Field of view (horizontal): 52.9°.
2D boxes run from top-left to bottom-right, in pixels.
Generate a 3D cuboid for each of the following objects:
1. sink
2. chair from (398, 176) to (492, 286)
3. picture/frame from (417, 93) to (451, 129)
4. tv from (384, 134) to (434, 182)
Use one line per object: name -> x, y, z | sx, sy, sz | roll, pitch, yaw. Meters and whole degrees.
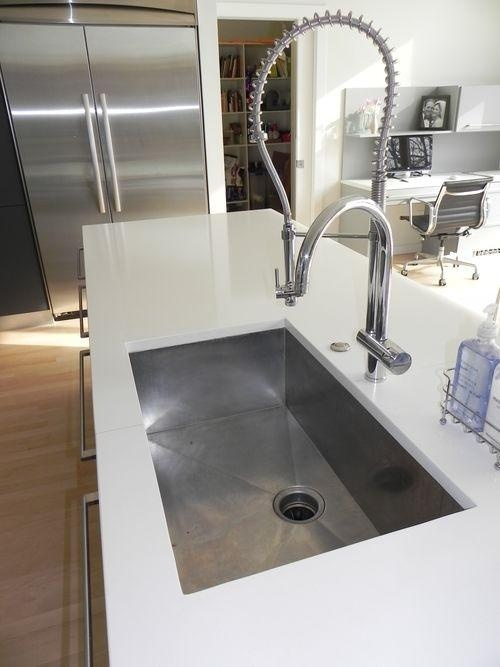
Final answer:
sink -> 0.004, 0.229, 0.935 | 0.378, 0.274, 0.632 | -8, 19, -15
chair -> 1.734, -0.932, 4.441 | 0.679, 0.832, 0.971 | 5, 20, 24
picture/frame -> 1.753, -2.104, 4.716 | 0.264, 0.317, 0.021 | 22, 30, 27
tv -> 1.497, -1.674, 4.739 | 0.682, 0.380, 0.277 | -17, 23, -35
